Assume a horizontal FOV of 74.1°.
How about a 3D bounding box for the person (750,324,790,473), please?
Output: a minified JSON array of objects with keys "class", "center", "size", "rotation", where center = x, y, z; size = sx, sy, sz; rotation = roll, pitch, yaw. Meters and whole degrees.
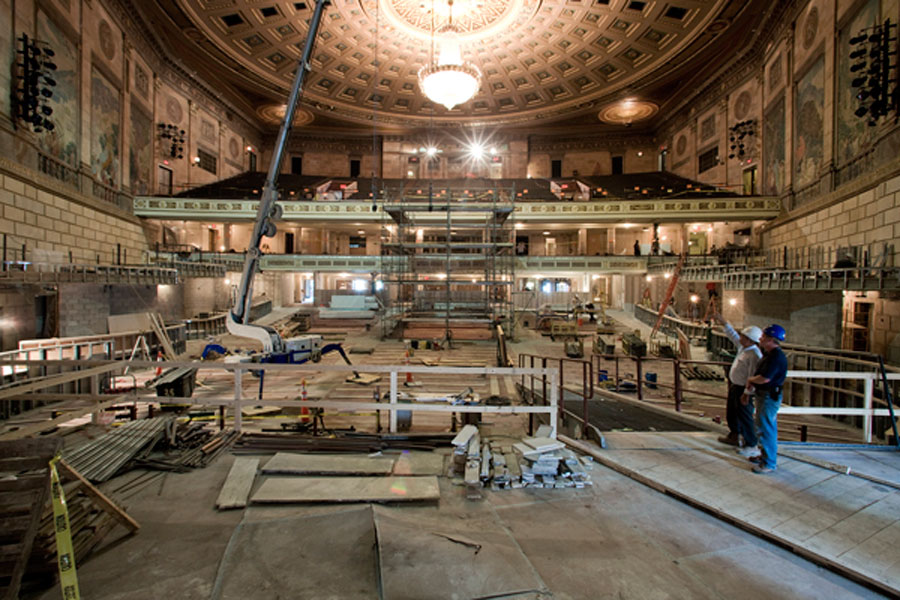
[{"class":"person","center":[7.954,2.441,14.793],"size":[0.868,3.613,0.375],"rotation":[-1,-2,9]}]
